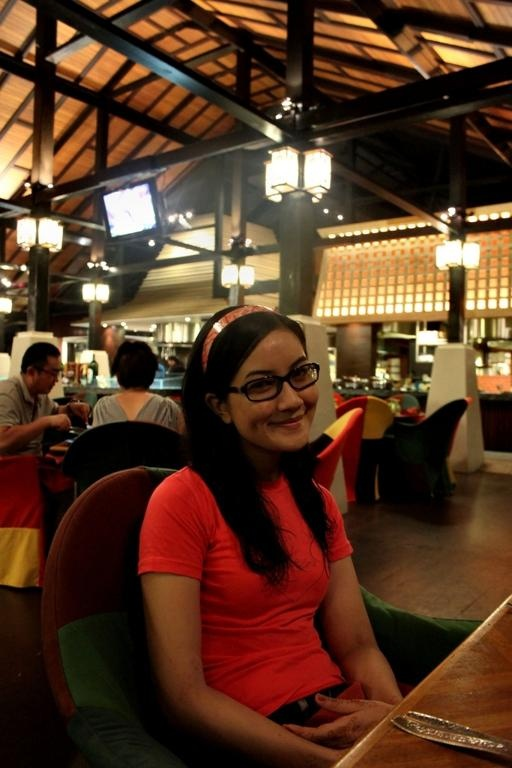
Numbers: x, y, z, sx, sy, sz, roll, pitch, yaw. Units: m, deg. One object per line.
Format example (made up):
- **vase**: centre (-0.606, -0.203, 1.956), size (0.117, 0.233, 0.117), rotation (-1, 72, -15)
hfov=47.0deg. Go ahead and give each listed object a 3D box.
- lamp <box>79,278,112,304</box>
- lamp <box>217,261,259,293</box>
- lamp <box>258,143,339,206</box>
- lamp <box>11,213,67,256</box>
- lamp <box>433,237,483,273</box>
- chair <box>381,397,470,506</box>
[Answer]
- **lamp**: centre (-2.528, -1.471, 9.322), size (0.356, 0.309, 0.417), rotation (0, 0, -9)
- **lamp**: centre (-0.283, -1.599, 8.849), size (0.427, 0.317, 0.427), rotation (-3, 8, -16)
- **lamp**: centre (0.283, -1.417, 4.001), size (0.359, 0.218, 0.362), rotation (4, 7, 44)
- **lamp**: centre (-2.244, -1.542, 6.120), size (0.438, 0.307, 0.443), rotation (4, 5, 29)
- **lamp**: centre (2.227, -1.454, 6.561), size (0.432, 0.351, 0.277), rotation (0, 0, 15)
- **chair**: centre (1.547, 0.527, 5.304), size (0.812, 1.019, 0.804), rotation (8, 7, 39)
